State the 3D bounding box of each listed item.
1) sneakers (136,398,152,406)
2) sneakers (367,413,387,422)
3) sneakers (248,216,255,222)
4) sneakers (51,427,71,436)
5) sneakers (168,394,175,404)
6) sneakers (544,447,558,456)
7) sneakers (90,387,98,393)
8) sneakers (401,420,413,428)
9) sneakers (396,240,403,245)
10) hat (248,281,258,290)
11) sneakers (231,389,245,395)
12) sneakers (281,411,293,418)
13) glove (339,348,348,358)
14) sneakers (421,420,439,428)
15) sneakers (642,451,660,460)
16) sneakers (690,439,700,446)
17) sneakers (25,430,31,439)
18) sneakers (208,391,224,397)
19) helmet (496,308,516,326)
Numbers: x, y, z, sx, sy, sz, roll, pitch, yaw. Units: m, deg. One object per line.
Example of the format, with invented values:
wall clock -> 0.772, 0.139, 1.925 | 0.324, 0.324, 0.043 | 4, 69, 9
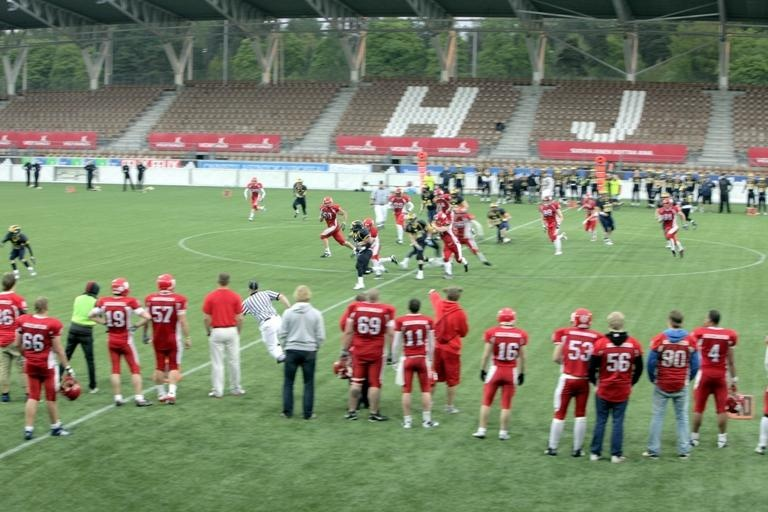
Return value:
sneakers -> -8.166, 4.962, 36.854 | 0.593, 0.156, 0.186 | 0, 2, -13
sneakers -> -0.231, 5.390, 36.343 | 0.751, 0.198, 0.222 | 0, 3, -3
sneakers -> -7.458, -2.131, 60.973 | 0.221, 0.288, 0.326 | 40, 0, -8
sneakers -> -10.598, 5.716, 35.615 | 0.662, 0.189, 0.257 | 0, 12, -8
sneakers -> -7.237, 4.848, 36.957 | 0.337, 0.243, 0.274 | 2, 20, -25
sneakers -> 5.349, 6.298, 35.080 | 0.437, 0.162, 0.206 | 4, -5, 7
sneakers -> -10.046, 4.618, 37.607 | 0.201, 0.270, 0.135 | 33, 34, -25
sneakers -> 0.754, 5.571, 36.056 | 0.227, 0.152, 0.293 | 0, 9, -20
sneakers -> 0.756, -0.713, 54.896 | 0.279, 0.201, 0.629 | 2, 7, 5
hat -> -4.636, 0.986, 38.533 | 0.352, 0.280, 0.318 | 10, 27, -11
sneakers -> -5.057, 4.662, 37.523 | 0.209, 0.151, 0.470 | 2, 3, 13
sneakers -> -3.260, 5.282, 36.400 | 0.389, 0.227, 0.171 | 6, 4, 18
glove -> -1.352, 3.227, 36.419 | 0.393, 0.218, 0.301 | 1, -2, 6
sneakers -> 1.469, 5.564, 36.178 | 0.660, 0.164, 0.196 | -2, 5, -2
sneakers -> 8.537, 6.384, 34.997 | 0.590, 0.163, 0.205 | 7, 7, 32
sneakers -> 10.102, 6.063, 35.526 | 0.399, 0.166, 0.188 | -3, 5, -35
sneakers -> -11.578, 5.784, 35.425 | 0.234, 0.324, 0.100 | 0, 5, -9
sneakers -> -5.800, 4.732, 37.491 | 0.636, 0.168, 0.210 | 6, -1, 38
helmet -> 3.956, 1.940, 35.578 | 0.428, 0.504, 0.458 | -2, 4, -29
